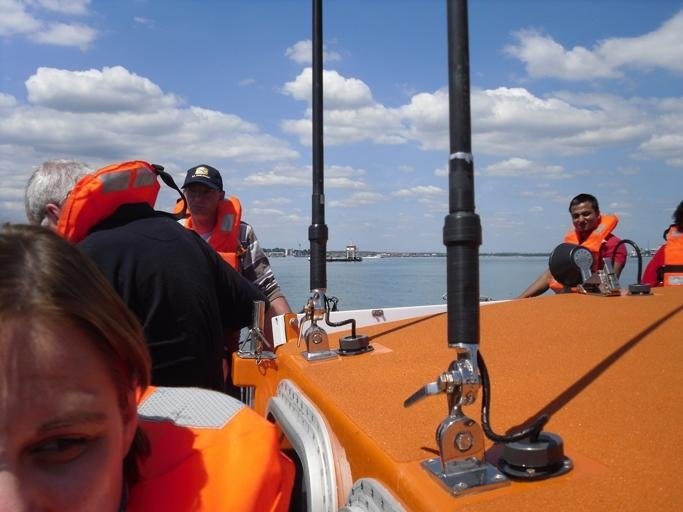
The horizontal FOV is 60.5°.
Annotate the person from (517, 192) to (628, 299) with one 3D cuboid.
[{"bbox_3d":[2.235,-0.029,5.659,0.867,1.176,0.786,3,-3,-19],"label":"person"}]

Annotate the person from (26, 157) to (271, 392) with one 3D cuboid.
[{"bbox_3d":[-0.803,0.298,3.097,0.958,1.787,0.691,4,22,13],"label":"person"}]
